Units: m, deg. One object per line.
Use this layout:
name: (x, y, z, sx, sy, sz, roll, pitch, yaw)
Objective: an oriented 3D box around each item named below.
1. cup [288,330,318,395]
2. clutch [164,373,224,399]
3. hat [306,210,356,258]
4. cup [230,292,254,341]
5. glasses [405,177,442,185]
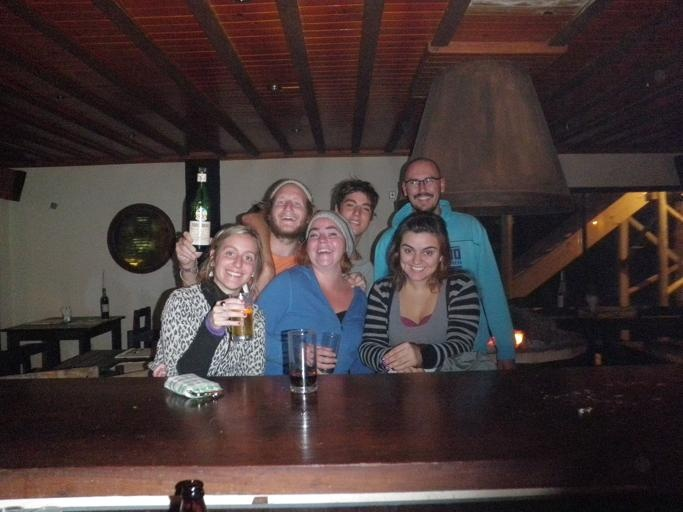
cup: (-0.154, 0.417, 2.225, 0.113, 0.250, 0.099, -2, 2, -4)
clutch: (-0.586, 0.518, 2.221, 0.280, 0.070, 0.130, -1, 1, 35)
hat: (-0.055, -0.118, 3.013, 0.274, 0.258, 0.164, -2, 2, -15)
cup: (-0.452, 0.280, 2.516, 0.107, 0.228, 0.190, -2, 2, -9)
glasses: (0.481, -0.448, 3.318, 0.199, 0.051, 0.058, -1, 1, 1)
